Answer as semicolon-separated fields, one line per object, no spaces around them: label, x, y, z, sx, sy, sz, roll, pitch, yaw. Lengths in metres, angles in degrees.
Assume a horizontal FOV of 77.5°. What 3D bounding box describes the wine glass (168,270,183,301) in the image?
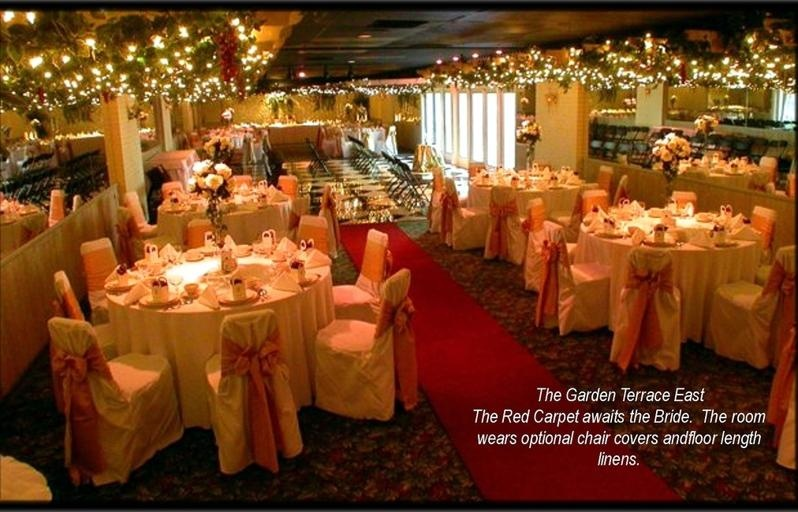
wine glass;-2.320;0.316;5.115;0.176;0.281;0.172;-9;22;-32

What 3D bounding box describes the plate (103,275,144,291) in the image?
plate;-2.920;0.300;5.227;0.249;0.061;0.250;0;23;-3
